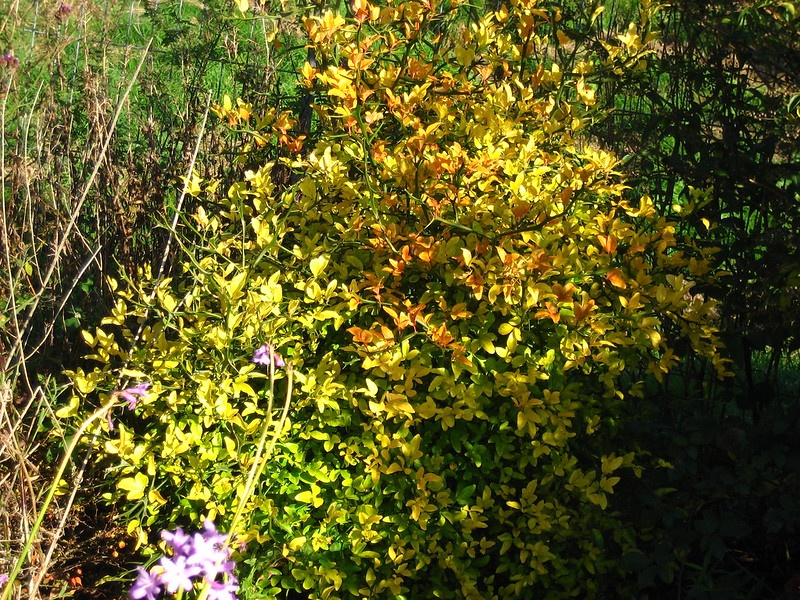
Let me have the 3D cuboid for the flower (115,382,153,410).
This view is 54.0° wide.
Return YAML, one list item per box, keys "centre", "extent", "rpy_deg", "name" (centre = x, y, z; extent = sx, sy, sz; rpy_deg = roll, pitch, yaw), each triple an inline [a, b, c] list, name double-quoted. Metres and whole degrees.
- centre: [-0.834, 0.297, 2.432]
  extent: [0.055, 0.072, 0.189]
  rpy_deg: [0, -4, -9]
  name: "flower"

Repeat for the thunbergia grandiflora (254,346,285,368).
- centre: [-0.406, 0.172, 2.405]
  extent: [0.063, 0.082, 0.039]
  rpy_deg: [-3, -67, -16]
  name: "thunbergia grandiflora"
